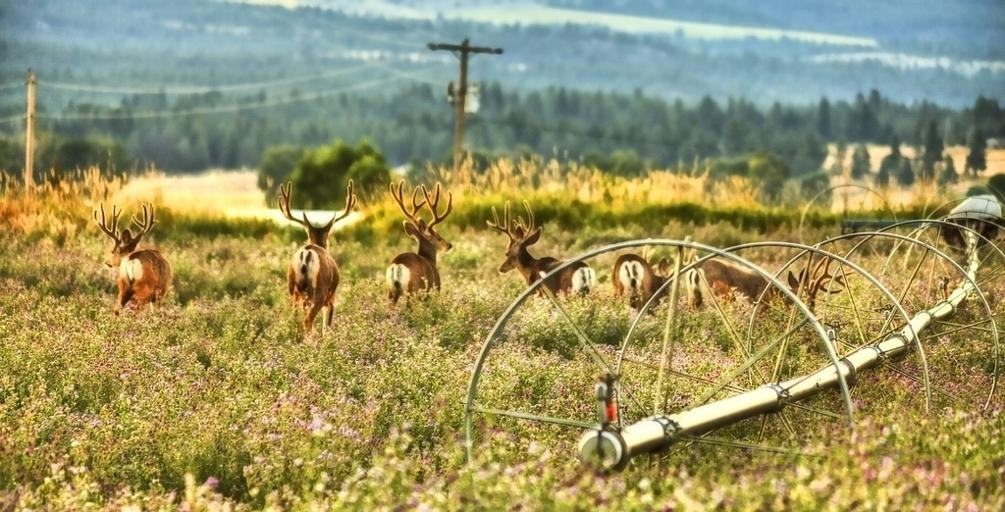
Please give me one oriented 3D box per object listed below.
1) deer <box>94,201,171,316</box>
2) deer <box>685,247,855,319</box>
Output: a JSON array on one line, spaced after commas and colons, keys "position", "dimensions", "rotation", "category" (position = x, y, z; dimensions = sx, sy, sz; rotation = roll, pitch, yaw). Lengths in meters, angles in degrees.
[{"position": [-8.603, -0.095, 34.207], "dimensions": [1.431, 2.103, 1.926], "rotation": [-6, 19, -16], "category": "deer"}, {"position": [5.632, 0.597, 34.923], "dimensions": [4.958, 1.834, 2.106], "rotation": [1, -1, -17], "category": "deer"}]
